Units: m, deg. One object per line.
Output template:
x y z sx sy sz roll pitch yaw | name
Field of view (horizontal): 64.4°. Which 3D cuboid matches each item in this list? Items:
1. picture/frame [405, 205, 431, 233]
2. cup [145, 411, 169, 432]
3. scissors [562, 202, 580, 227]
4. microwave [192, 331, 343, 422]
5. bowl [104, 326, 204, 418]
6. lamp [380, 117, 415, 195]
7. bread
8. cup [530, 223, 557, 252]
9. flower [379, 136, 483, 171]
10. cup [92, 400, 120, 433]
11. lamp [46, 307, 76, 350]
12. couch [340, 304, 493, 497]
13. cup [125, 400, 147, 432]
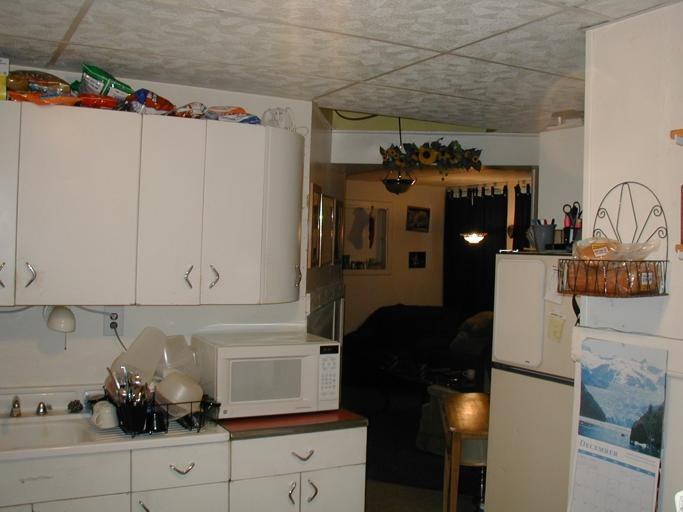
1.091 -0.557 7.931 0.412 0.299 0.056 -1 2 -40 | picture/frame
-0.946 0.847 2.804 0.100 0.095 0.087 -7 -5 34 | cup
1.384 -0.256 3.262 0.065 0.170 0.170 -4 -1 31 | scissors
-0.506 0.565 3.201 0.632 0.334 0.480 0 -1 -21 | microwave
-1.020 0.625 2.956 0.494 0.432 0.449 -2 4 -25 | bowl
0.483 -0.870 4.540 0.255 0.698 0.266 3 1 1 | lamp
1.122 0.051 2.197 0.249 0.166 0.263 -1 0 -30 | bread
1.186 -0.110 3.220 0.142 0.156 0.155 2 -5 0 | cup
0.695 -0.823 4.357 0.782 0.289 0.298 0 3 2 | flower
-1.239 0.836 2.833 0.101 0.110 0.152 -2 1 -4 | cup
-1.523 0.390 2.941 0.123 0.231 0.131 -4 -5 22 | lamp
0.713 1.435 6.017 1.070 1.428 1.995 0 2 -21 | couch
-1.046 0.816 2.758 0.100 0.156 0.053 -1 3 -4 | cup
